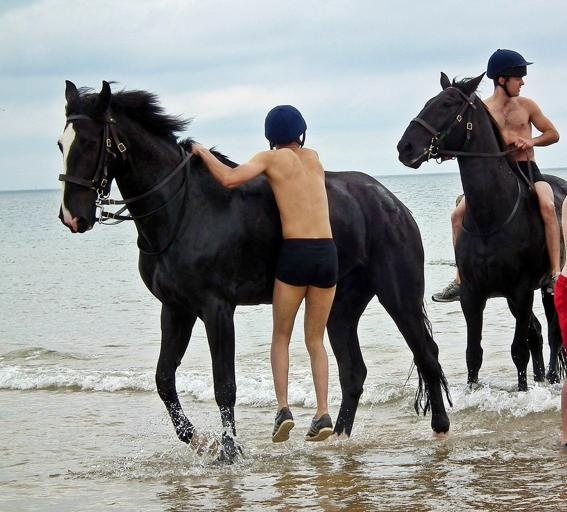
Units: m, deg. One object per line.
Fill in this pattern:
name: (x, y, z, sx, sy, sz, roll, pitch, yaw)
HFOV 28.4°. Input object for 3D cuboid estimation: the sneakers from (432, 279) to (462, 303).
sneakers: (1.759, 0.417, 12.638, 0.507, 0.167, 0.152, -4, 1, -4)

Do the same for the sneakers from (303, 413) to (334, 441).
sneakers: (0.268, 1.382, 9.023, 0.213, 0.194, 0.292, -6, 2, -13)

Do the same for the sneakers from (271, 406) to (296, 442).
sneakers: (-0.005, 1.343, 8.896, 0.153, 0.132, 0.319, -5, -33, -17)

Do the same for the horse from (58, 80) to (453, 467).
horse: (-0.226, 0.217, 9.878, 1.317, 2.901, 4.490, -14, -11, 37)
